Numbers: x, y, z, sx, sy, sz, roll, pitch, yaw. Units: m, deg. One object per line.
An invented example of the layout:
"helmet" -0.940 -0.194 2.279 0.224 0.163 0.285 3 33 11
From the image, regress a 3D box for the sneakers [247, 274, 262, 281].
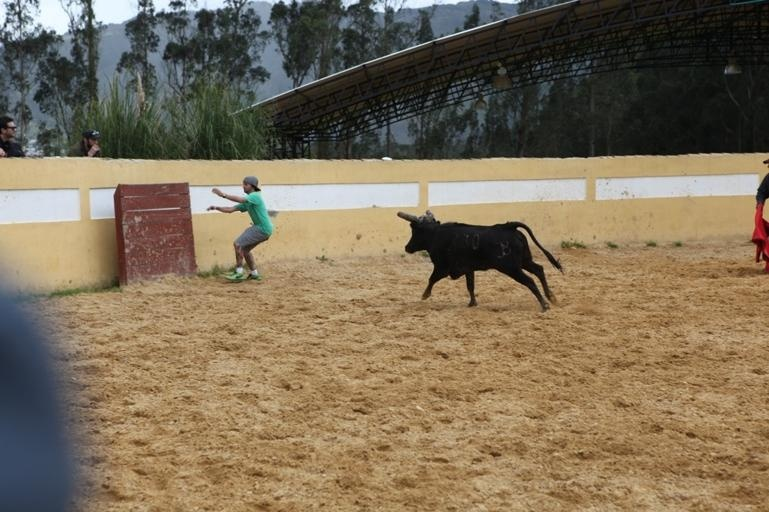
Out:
"sneakers" -2.962 0.449 24.042 0.316 0.155 0.132 4 9 13

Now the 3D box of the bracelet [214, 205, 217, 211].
"bracelet" -3.767 -1.088 23.541 0.084 0.086 0.476 -3 9 -9

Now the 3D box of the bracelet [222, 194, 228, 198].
"bracelet" -3.560 -1.359 23.605 0.075 0.055 0.074 -7 -6 21

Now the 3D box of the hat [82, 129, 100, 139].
"hat" -6.735 -2.827 24.200 0.287 0.106 0.213 5 16 19

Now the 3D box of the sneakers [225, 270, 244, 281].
"sneakers" -3.366 0.430 24.025 0.506 0.273 0.193 1 3 5

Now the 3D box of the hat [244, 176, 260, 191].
"hat" -3.065 -1.646 24.110 0.381 0.355 0.289 16 4 -17
